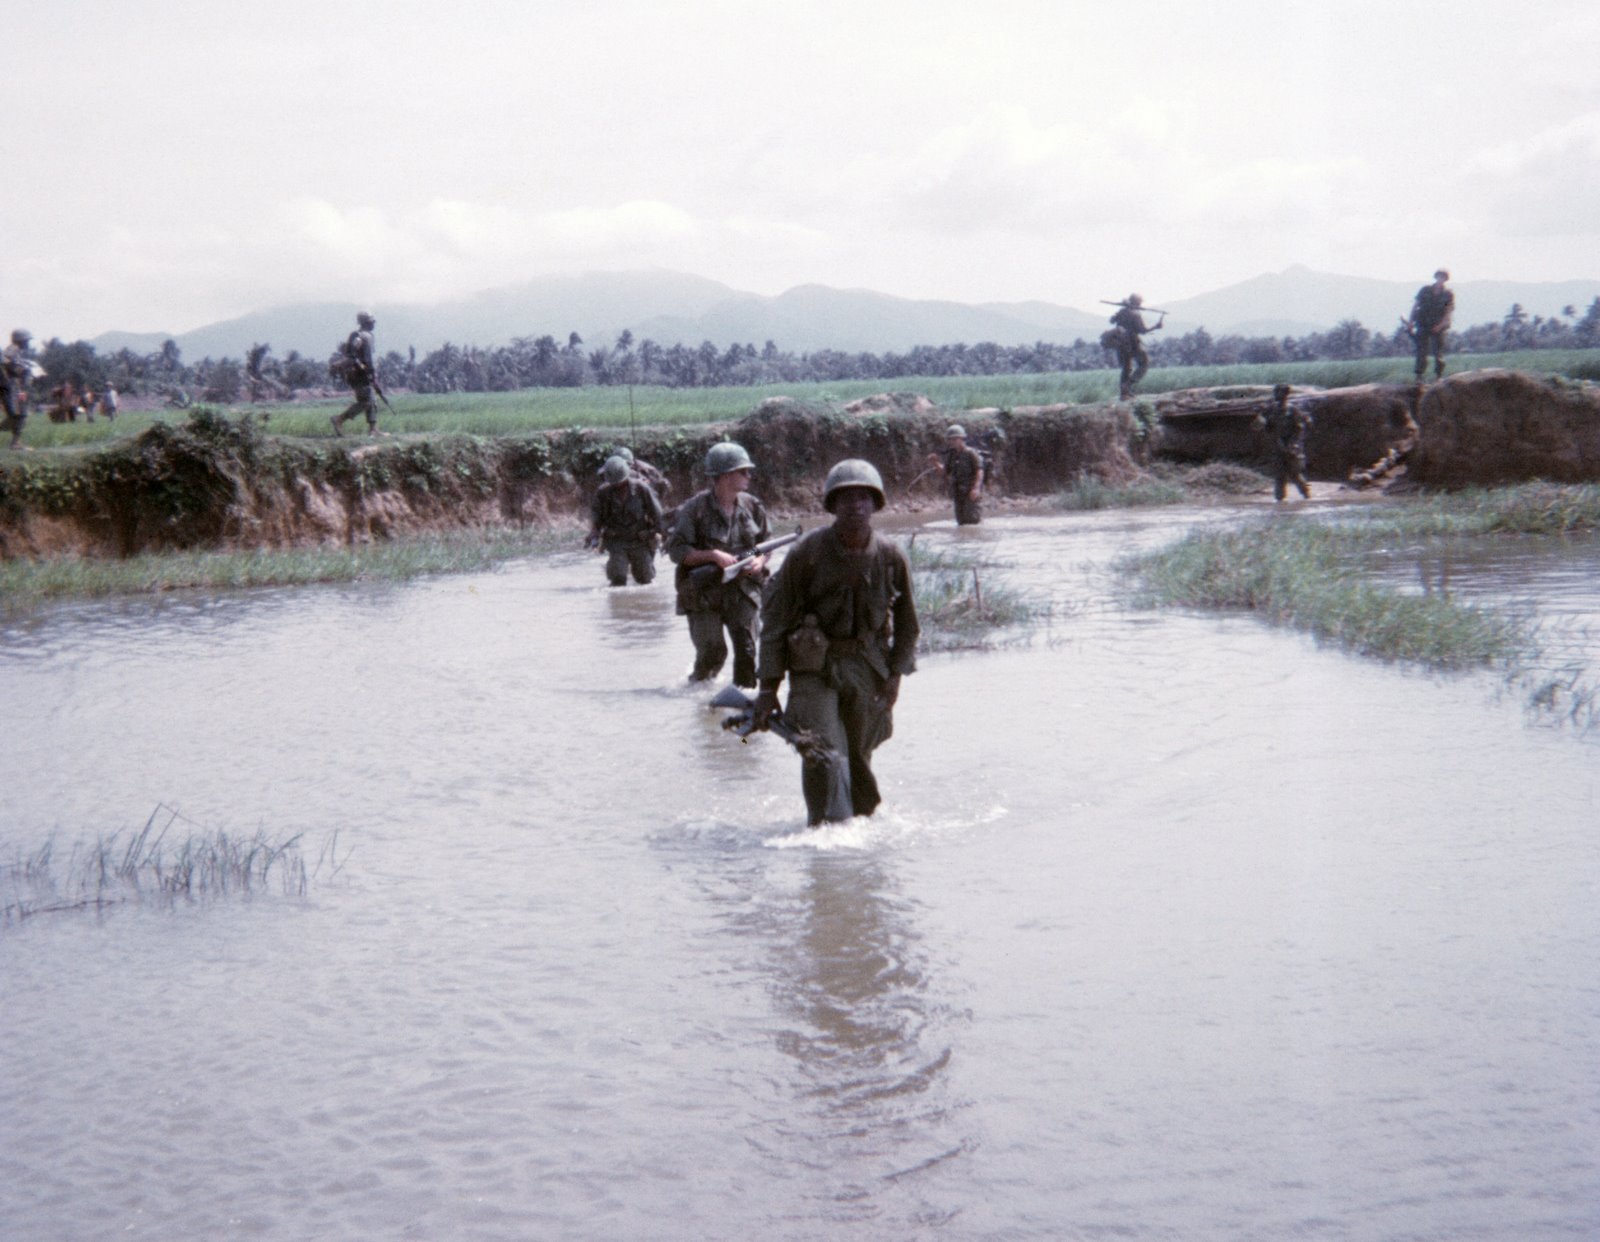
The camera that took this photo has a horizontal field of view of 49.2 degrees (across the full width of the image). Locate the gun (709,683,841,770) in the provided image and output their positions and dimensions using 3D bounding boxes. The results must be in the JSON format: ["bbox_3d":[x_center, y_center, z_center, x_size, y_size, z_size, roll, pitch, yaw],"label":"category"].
[{"bbox_3d":[-0.169,0.784,12.688,0.912,0.188,0.370,29,57,28],"label":"gun"}]

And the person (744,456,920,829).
[{"bbox_3d":[0.218,0.151,11.634,1.140,2.491,0.657,-2,13,-2],"label":"person"}]

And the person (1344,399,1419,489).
[{"bbox_3d":[13.980,-4.011,40.915,0.933,0.665,4.029,14,30,24],"label":"person"}]

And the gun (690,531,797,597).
[{"bbox_3d":[-0.556,-0.502,15.513,1.091,0.250,0.363,-22,2,-14],"label":"gun"}]
